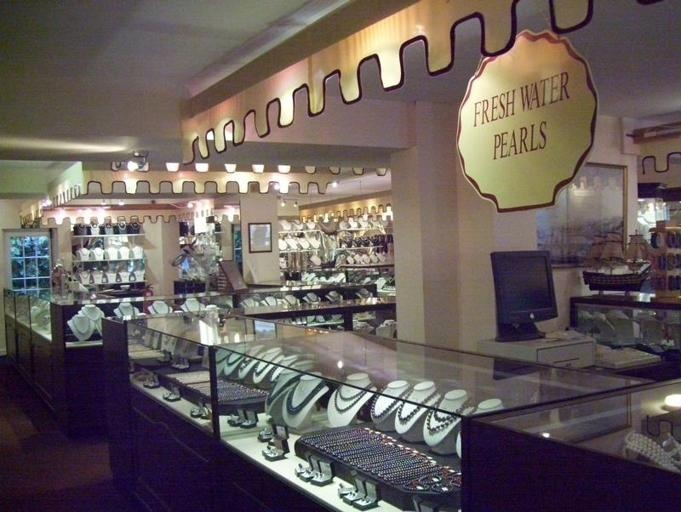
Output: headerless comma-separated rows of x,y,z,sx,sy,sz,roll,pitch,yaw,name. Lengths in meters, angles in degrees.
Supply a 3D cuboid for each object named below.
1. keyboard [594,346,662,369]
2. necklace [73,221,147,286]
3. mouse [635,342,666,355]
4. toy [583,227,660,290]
2.109,0.764,4.074,0.269,0.089,0.187,0,-4,-32,keyboard
-6.398,-0.058,14.929,1.727,1.637,0.557,-2,5,-22,necklace
2.695,0.798,4.746,0.060,0.069,0.285,-10,8,-33,mouse
2.812,0.094,5.512,0.732,0.620,0.411,-3,-4,44,toy
